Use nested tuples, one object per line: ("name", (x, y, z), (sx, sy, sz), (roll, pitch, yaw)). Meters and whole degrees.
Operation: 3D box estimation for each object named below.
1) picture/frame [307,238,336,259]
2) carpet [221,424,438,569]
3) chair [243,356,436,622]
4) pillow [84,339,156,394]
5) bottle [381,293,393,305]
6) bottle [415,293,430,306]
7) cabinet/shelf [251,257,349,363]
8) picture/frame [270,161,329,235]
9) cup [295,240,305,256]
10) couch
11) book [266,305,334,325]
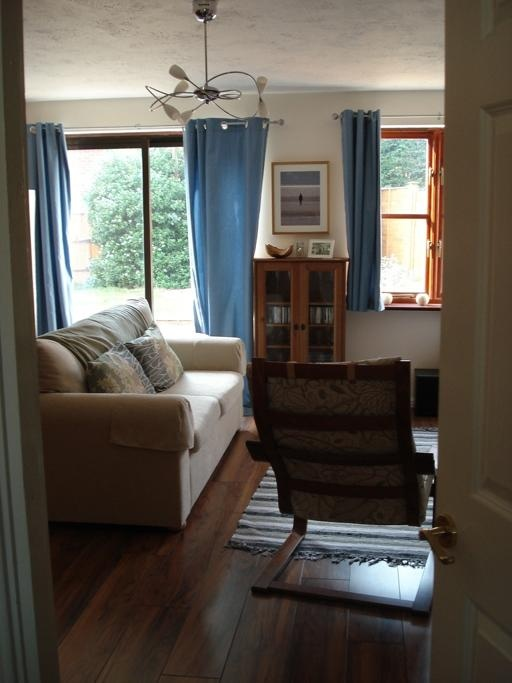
("picture/frame", (0.541, -0.764, 4.713), (0.195, 0.188, 0.009), (1, -12, 10))
("carpet", (0.366, 0.750, 2.473), (0.861, 0.996, 0.012), (12, 47, 5))
("chair", (0.374, 0.409, 2.285), (0.651, 0.945, 0.898), (-1, 12, 18))
("pillow", (-0.711, 0.164, 3.042), (0.135, 0.294, 0.459), (15, 12, 35))
("bottle", (1.094, -0.351, 4.770), (0.079, 0.072, 0.089), (1, 5, 32))
("bottle", (1.409, -0.346, 4.833), (0.093, 0.102, 0.095), (4, 0, 40))
("cabinet/shelf", (0.362, -0.124, 4.679), (0.639, 1.072, 0.328), (1, 3, 6))
("picture/frame", (0.374, -1.196, 4.766), (0.485, 0.685, 0.039), (0, -17, 4))
("cup", (0.366, -0.773, 4.771), (0.092, 0.146, 0.198), (0, 6, 7))
("couch", (-0.592, 0.328, 3.422), (0.802, 1.001, 1.756), (-3, 7, 10))
("book", (0.331, -0.208, 4.479), (0.441, 0.166, 0.172), (1, -4, 5))
